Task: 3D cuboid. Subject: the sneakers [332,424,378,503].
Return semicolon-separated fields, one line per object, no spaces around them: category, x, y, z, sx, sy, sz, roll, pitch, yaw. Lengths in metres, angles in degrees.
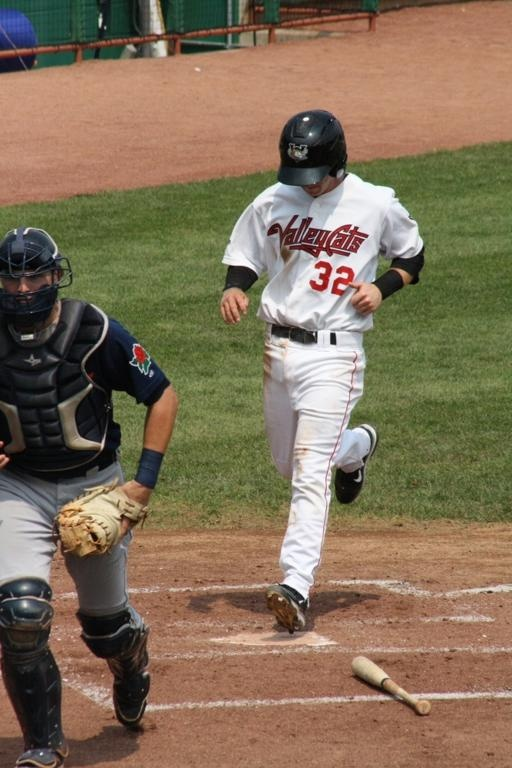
sneakers;0.547;0.447;5.874;0.179;0.499;0.209;32;41;30

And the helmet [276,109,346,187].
helmet;0.255;-1.093;4.950;0.304;0.379;0.391;-1;6;5

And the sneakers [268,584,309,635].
sneakers;0.130;0.908;4.376;0.130;0.212;0.204;0;6;15

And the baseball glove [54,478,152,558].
baseball glove;-0.511;0.423;3.433;0.186;0.101;0.243;-23;26;-24

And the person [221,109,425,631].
person;0.156;-0.188;4.899;0.929;2.160;1.147;1;7;23
